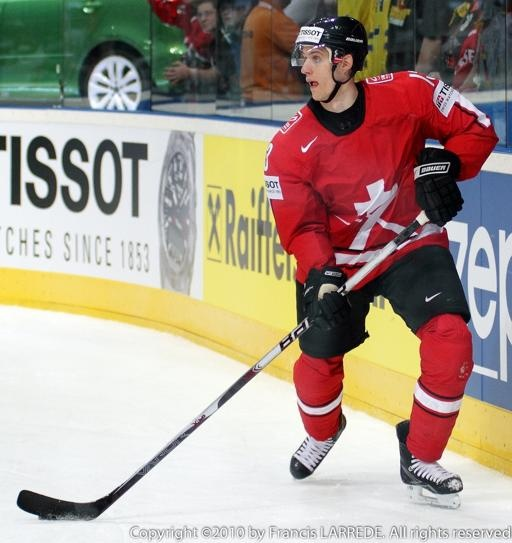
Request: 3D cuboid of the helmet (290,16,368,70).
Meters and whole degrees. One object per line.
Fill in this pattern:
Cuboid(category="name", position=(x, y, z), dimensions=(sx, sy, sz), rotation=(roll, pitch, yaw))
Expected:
Cuboid(category="helmet", position=(0.235, -0.697, 2.665), dimensions=(0.187, 0.195, 0.158), rotation=(2, 10, -1))

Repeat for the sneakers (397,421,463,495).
Cuboid(category="sneakers", position=(0.525, 0.586, 2.648), dimensions=(0.079, 0.183, 0.235), rotation=(-10, 11, -31))

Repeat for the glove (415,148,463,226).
Cuboid(category="glove", position=(0.534, -0.248, 2.539), dimensions=(0.064, 0.218, 0.149), rotation=(-7, 7, 29))

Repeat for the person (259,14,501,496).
Cuboid(category="person", position=(0.356, -0.009, 2.689), dimensions=(0.691, 1.496, 0.432), rotation=(6, 12, 16))

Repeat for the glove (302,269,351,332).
Cuboid(category="glove", position=(0.212, 0.078, 2.575), dimensions=(0.074, 0.185, 0.130), rotation=(-9, -21, 28))
